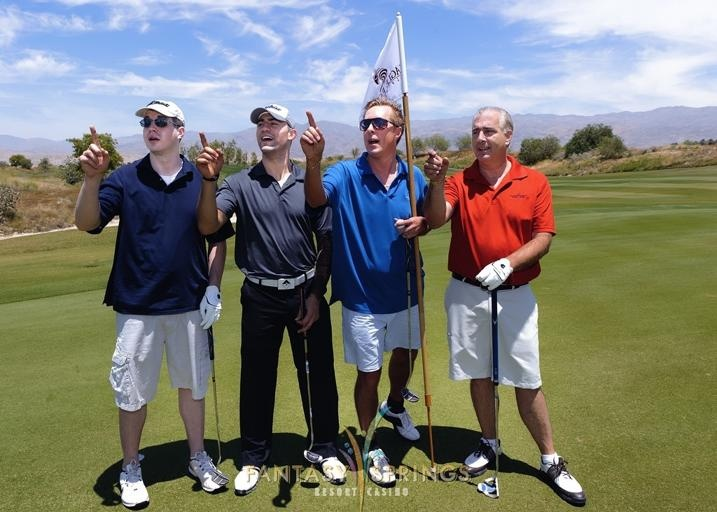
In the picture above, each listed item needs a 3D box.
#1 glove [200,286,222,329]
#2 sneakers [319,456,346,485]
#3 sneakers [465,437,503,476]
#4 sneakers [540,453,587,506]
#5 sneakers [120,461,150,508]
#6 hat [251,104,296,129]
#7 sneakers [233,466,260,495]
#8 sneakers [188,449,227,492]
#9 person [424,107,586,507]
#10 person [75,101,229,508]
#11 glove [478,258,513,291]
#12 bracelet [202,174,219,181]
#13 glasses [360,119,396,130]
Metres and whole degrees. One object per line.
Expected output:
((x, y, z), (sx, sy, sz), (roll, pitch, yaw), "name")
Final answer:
((-1.374, 0.469, 4.754), (0.190, 0.399, 0.105), (13, -9, -32), "glove")
((-0.233, 2.001, 4.777), (0.244, 0.111, 0.299), (-1, 13, -3), "sneakers")
((1.142, 1.859, 4.774), (0.177, 0.241, 0.501), (-3, -2, 39), "sneakers")
((1.758, 1.925, 4.421), (0.139, 0.190, 0.408), (-13, 6, -10), "sneakers")
((-1.960, 1.998, 4.465), (0.224, 0.231, 0.380), (-7, 14, -28), "sneakers")
((-0.842, -1.344, 4.913), (0.409, 0.189, 0.295), (0, 13, 4), "hat")
((-0.999, 2.013, 4.604), (0.222, 0.137, 0.211), (-3, 13, -8), "sneakers")
((-1.373, 1.933, 4.642), (0.381, 0.186, 0.198), (20, 11, 35), "sneakers")
((1.309, 0.282, 4.803), (1.362, 3.285, 1.058), (5, 13, 25), "person")
((-1.783, 0.318, 4.645), (1.169, 3.369, 1.043), (-6, 13, -25), "person")
((1.214, 0.140, 4.535), (0.208, 0.356, 0.130), (35, -8, 33), "glove")
((-1.328, -0.710, 4.596), (0.138, 0.066, 0.227), (-5, 14, -19), "bracelet")
((0.177, -1.279, 4.945), (0.331, 0.118, 0.097), (0, 12, 4), "glasses")
